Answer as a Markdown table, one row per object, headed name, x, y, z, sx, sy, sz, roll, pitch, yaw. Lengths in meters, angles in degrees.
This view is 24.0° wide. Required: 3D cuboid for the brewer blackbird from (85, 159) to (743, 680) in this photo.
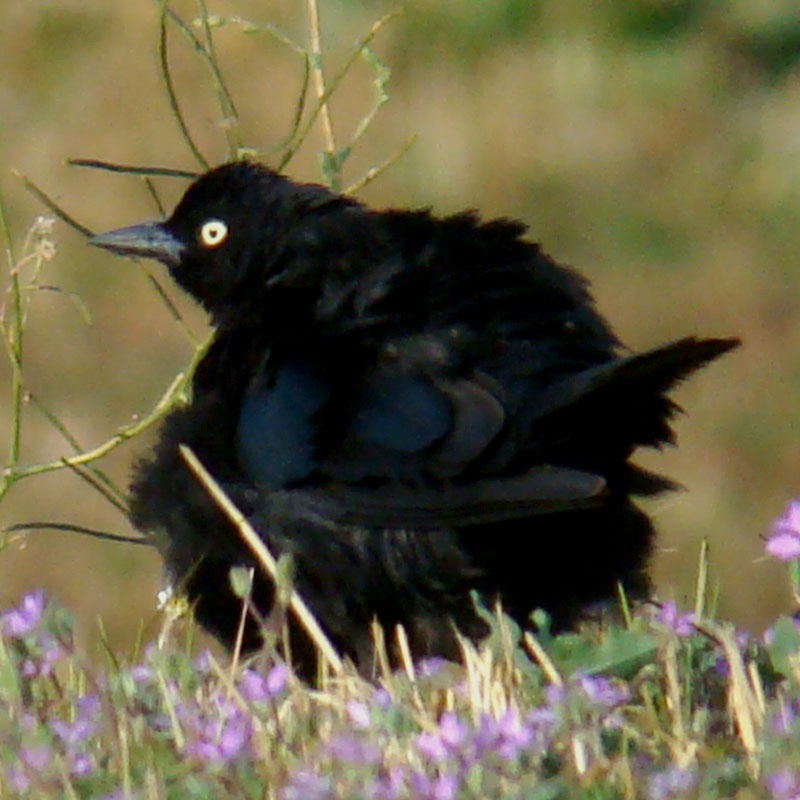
| name | x | y | z | sx | sy | sz | roll | pitch | yaw |
| --- | --- | --- | --- | --- | --- | --- | --- | --- | --- |
| brewer blackbird | 0.050 | 0.010 | 2.185 | 0.778 | 0.574 | 0.469 | -2 | 2 | 15 |
